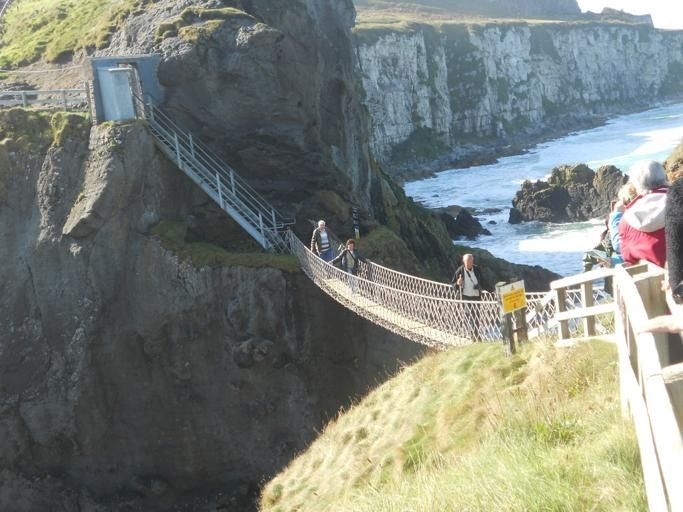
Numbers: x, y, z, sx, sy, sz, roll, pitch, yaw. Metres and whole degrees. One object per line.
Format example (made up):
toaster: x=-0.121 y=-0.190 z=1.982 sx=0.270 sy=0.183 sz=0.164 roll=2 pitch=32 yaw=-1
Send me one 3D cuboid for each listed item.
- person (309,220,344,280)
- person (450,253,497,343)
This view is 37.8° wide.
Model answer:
person: x=-0.542 y=-0.400 z=33.892 sx=0.965 sy=2.164 sz=0.520 roll=-8 pitch=38 yaw=6
person: x=3.814 y=1.161 z=28.945 sx=0.968 sy=2.548 sz=0.734 roll=-7 pitch=18 yaw=0
